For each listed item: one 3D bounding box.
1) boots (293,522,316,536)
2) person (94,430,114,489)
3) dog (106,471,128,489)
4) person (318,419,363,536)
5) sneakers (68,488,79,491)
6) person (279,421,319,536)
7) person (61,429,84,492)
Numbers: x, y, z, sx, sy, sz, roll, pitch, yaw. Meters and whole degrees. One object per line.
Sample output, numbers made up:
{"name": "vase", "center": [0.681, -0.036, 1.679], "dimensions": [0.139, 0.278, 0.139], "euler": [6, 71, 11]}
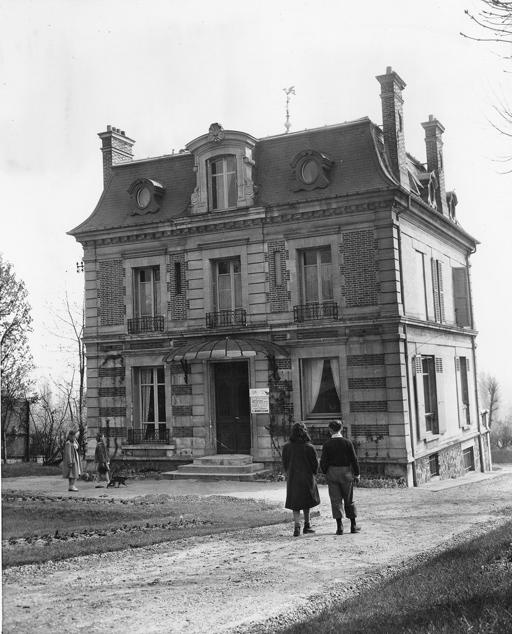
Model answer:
{"name": "boots", "center": [0.732, 3.393, 14.744], "dimensions": [0.448, 0.230, 0.154], "euler": [-1, -2, -43]}
{"name": "person", "center": [-3.894, 3.624, 23.376], "dimensions": [0.345, 1.379, 1.999], "euler": [-1, -2, -10]}
{"name": "dog", "center": [-3.453, 4.037, 22.799], "dimensions": [0.449, 0.371, 0.906], "euler": [-1, -2, -10]}
{"name": "person", "center": [1.341, 2.572, 14.909], "dimensions": [0.613, 1.775, 0.823], "euler": [-1, -1, 6]}
{"name": "sneakers", "center": [-4.270, 4.038, 21.606], "dimensions": [0.208, 0.112, 0.080], "euler": [0, -4, 3]}
{"name": "person", "center": [0.717, 2.610, 14.908], "dimensions": [0.575, 1.783, 0.897], "euler": [-1, -1, 3]}
{"name": "person", "center": [-4.540, 3.532, 22.657], "dimensions": [0.385, 1.500, 2.652], "euler": [-1, -2, -12]}
